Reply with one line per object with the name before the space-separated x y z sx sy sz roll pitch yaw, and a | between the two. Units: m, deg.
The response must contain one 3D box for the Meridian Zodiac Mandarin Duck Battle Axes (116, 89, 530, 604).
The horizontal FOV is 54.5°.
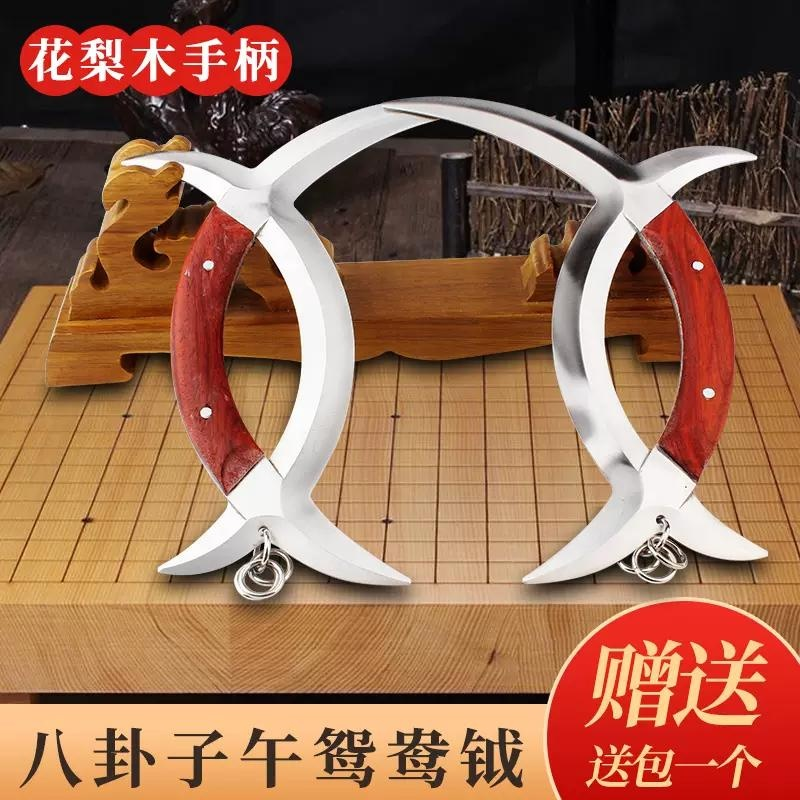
Meridian Zodiac Mandarin Duck Battle Axes | -0.126 -0.053 0.785 0.343 0.430 0.316 0 39 5
